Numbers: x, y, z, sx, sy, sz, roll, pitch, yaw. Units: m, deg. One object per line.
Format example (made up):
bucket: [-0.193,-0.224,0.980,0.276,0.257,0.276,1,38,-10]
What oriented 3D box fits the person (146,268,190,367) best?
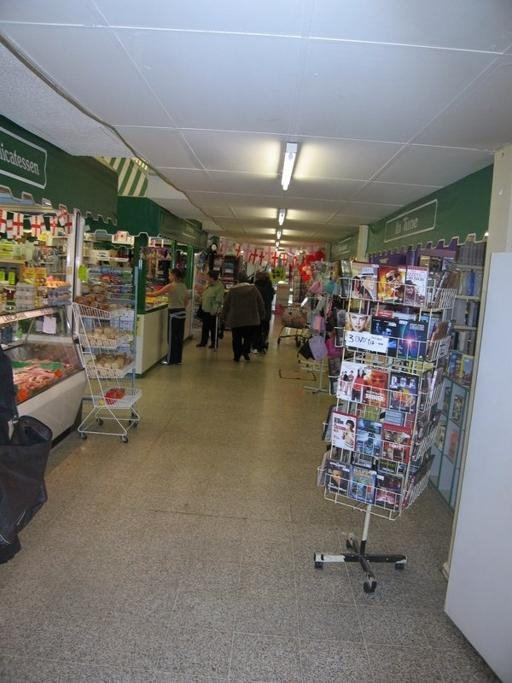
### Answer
person: [-1.487,-0.437,8.619,0.409,1.730,0.620,8,9,22]

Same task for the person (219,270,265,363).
person: [-0.267,-0.482,9.859,0.809,1.760,1.032,5,8,1]

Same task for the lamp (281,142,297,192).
lamp: [0.293,-1.441,4.102,0.087,0.492,0.072,-4,-20,7]

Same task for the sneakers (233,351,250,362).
sneakers: [-0.332,0.331,9.901,0.407,0.278,0.135,-12,18,-40]
